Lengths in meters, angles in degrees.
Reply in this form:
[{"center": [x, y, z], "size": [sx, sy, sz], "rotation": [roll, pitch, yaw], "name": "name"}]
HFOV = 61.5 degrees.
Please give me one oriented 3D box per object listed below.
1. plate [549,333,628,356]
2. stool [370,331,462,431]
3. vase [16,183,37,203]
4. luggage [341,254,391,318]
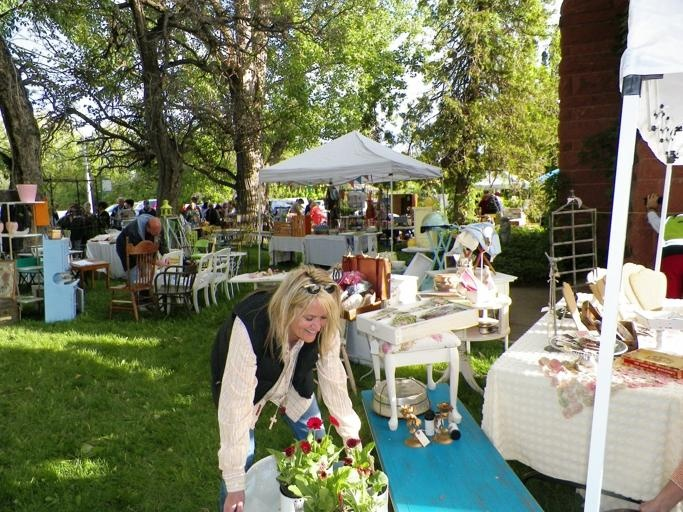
[{"center": [1.644, 0.588, 3.788], "size": [0.233, 0.036, 0.231], "rotation": [4, 15, 44], "name": "plate"}, {"center": [0.530, 0.863, 4.400], "size": [0.628, 0.648, 0.656], "rotation": [-2, 0, -19], "name": "stool"}, {"center": [-5.582, -1.075, 10.337], "size": [0.339, 0.371, 0.384], "rotation": [0, 0, 27], "name": "vase"}, {"center": [0.198, 0.246, 5.462], "size": [0.434, 0.516, 0.471], "rotation": [-2, 4, -43], "name": "luggage"}]
